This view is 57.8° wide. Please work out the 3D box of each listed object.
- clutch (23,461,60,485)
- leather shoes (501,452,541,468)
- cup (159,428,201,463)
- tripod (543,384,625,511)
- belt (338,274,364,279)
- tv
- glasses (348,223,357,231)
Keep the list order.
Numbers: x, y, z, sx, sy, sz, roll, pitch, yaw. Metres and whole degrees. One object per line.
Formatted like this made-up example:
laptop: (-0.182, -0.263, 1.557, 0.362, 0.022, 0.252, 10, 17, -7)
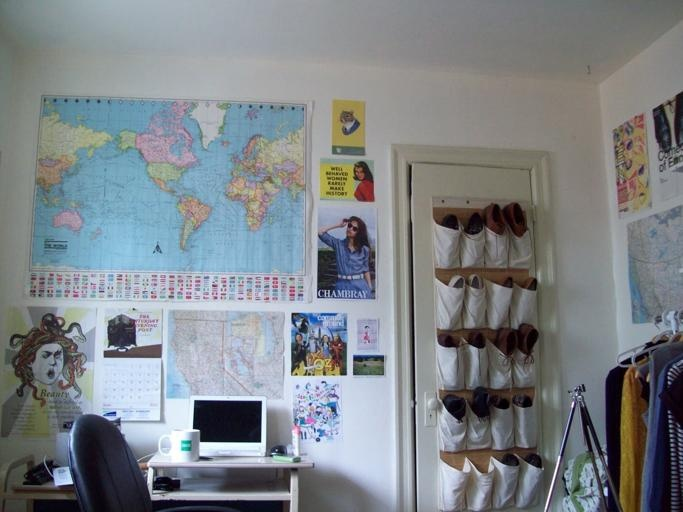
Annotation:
clutch: (-1.804, 1.306, 3.773, 0.126, 0.071, 0.168, 0, 0, 35)
leather shoes: (1.229, 1.382, 4.137, 0.318, 0.107, 0.092, 1, -7, -16)
cup: (-0.982, 1.159, 3.823, 0.273, 0.209, 0.184, 0, -6, -13)
tripod: (1.462, 1.240, 3.830, 0.406, 0.919, 0.851, -3, -7, 18)
belt: (0.071, 0.143, 4.260, 0.166, 0.037, 0.006, 0, -6, -7)
tv: (-0.697, 1.044, 3.814, 0.490, 0.372, 0.320, 3, -16, -9)
glasses: (0.086, -0.204, 4.304, 0.041, 0.020, 0.046, 3, -38, 3)
